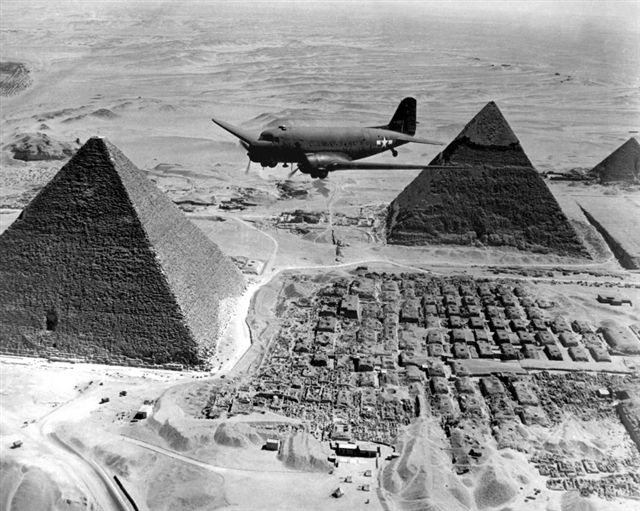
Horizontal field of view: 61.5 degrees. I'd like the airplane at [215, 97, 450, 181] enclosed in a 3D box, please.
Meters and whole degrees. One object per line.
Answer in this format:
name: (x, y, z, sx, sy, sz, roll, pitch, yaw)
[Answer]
airplane: (1.899, -10.721, 48.171, 15.552, 3.370, 18.336, -6, 9, 3)
